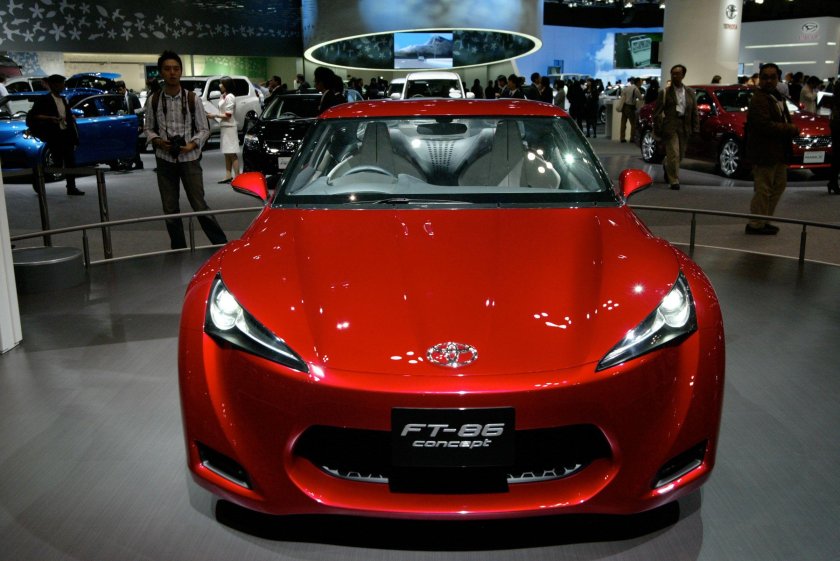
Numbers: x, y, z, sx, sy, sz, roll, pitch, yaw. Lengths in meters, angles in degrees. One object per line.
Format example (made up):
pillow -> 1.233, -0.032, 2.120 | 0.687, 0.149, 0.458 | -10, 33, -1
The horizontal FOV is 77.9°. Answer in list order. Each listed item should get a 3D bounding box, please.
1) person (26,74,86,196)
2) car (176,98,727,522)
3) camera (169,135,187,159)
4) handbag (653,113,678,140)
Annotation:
person -> -7.037, -3.033, 9.870 | 0.735, 1.670, 0.552 | -9, 19, -21
car -> 0.211, 0.002, 3.067 | 1.760, 1.157, 2.810 | 0, 11, 3
camera -> -2.615, -1.450, 5.609 | 0.136, 0.238, 0.118 | -1, 22, -18
handbag -> 4.630, -2.905, 9.735 | 0.428, 0.440, 0.435 | -6, 11, -14
